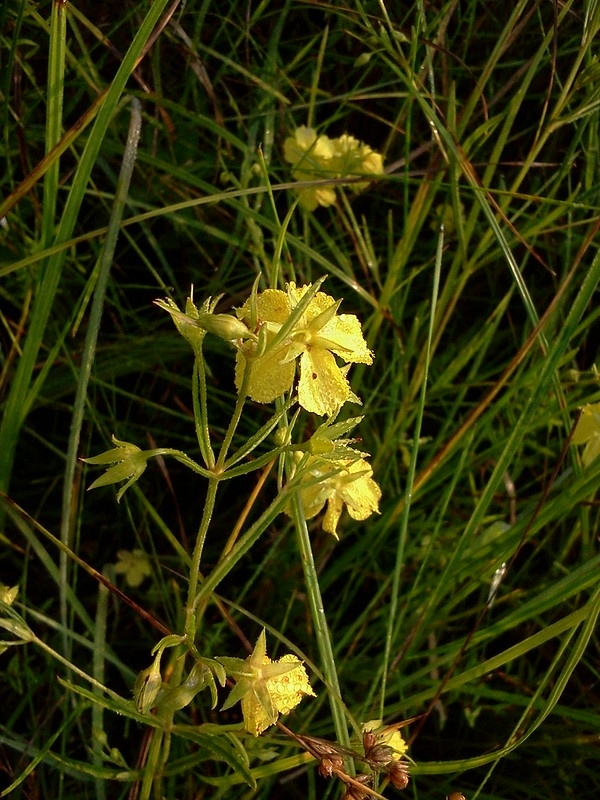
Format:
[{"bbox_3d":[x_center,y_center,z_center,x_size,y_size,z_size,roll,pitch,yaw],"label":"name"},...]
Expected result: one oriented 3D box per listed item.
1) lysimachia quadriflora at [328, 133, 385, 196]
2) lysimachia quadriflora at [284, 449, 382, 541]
[{"bbox_3d":[0.080,-0.424,1.420,0.107,0.040,0.105,13,3,-38],"label":"lysimachia quadriflora"},{"bbox_3d":[0.046,0.117,1.073,0.120,0.050,0.123,10,24,6],"label":"lysimachia quadriflora"}]
